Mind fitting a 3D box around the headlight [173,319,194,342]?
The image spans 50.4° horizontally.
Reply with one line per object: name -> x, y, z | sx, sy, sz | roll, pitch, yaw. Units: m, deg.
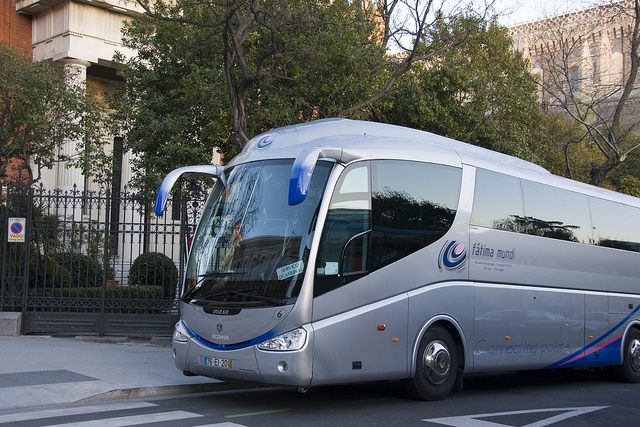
headlight -> -2.841, 2.383, 13.686 | 0.458, 0.199, 0.318 | 20, -3, -21

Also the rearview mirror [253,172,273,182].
rearview mirror -> -1.194, -0.742, 13.712 | 0.438, 0.202, 0.153 | 7, 6, 39

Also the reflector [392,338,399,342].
reflector -> 1.503, 2.568, 13.680 | 0.151, 0.083, 0.015 | 0, 6, -30

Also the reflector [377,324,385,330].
reflector -> 1.201, 2.278, 13.532 | 0.147, 0.107, 0.012 | 1, 6, -24
